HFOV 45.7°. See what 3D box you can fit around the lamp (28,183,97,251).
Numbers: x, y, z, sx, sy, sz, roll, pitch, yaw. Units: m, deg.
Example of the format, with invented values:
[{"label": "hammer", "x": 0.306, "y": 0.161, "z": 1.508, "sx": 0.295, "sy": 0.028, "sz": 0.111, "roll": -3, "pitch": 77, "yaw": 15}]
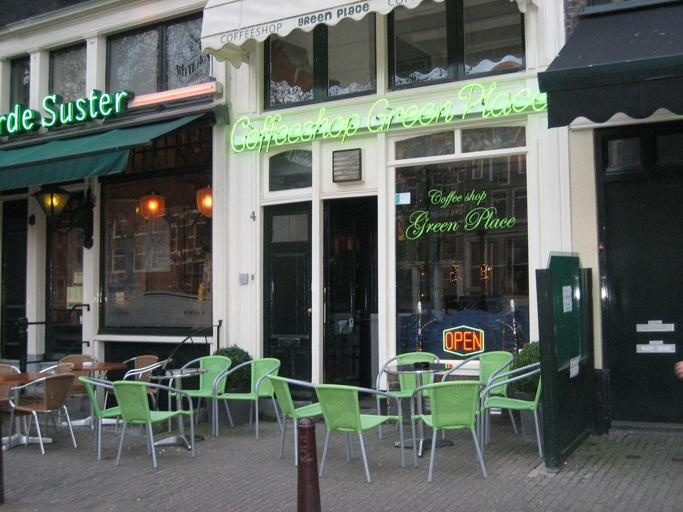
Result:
[{"label": "lamp", "x": -5.335, "y": -0.728, "z": 15.365, "sx": 1.213, "sy": 1.273, "sz": 0.848, "roll": -5, "pitch": -4, "yaw": 45}]
